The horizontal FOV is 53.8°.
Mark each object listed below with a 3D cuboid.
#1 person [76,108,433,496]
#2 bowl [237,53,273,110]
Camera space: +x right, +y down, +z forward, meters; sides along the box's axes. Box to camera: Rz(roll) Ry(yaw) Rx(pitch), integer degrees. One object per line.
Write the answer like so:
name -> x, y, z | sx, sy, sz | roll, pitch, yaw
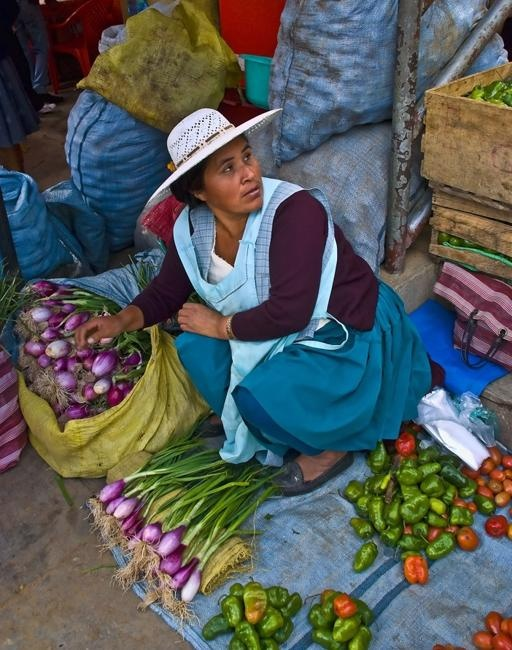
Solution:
person -> 0.051, -0.129, 1.986 | 1.173, 1.255, 1.017 | 6, 24, 36
bowl -> 0.025, -1.398, 2.942 | 0.269, 0.247, 0.237 | 8, 26, 0
